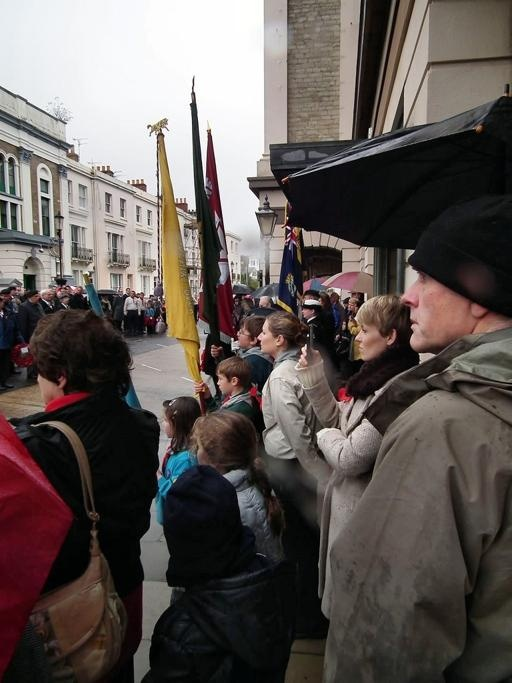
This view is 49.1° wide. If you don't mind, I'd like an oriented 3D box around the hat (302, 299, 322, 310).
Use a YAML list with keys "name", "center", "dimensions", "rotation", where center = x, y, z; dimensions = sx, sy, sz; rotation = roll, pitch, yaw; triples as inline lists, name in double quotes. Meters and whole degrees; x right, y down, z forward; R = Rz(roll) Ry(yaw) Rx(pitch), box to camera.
- name: "hat"
  center: [0.635, -0.410, 6.257]
  dimensions: [0.166, 0.080, 0.129]
  rotation: [13, -3, -22]
